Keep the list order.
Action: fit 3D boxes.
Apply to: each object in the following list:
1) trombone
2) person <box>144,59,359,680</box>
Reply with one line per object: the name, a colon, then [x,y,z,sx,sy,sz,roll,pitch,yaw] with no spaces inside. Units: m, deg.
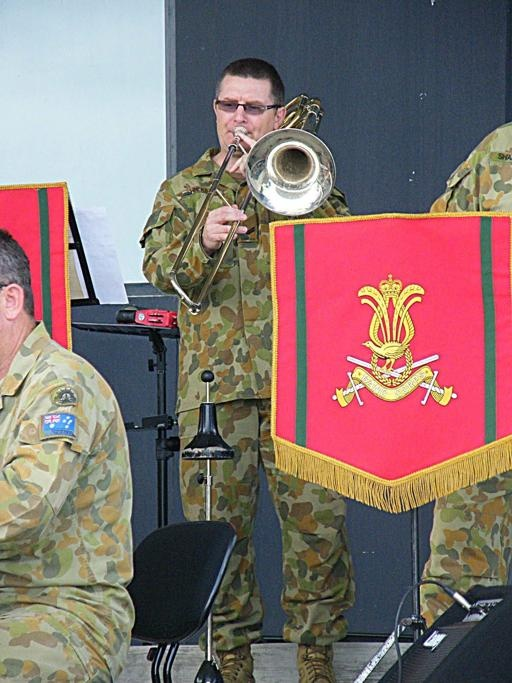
trombone: [0.054,-0.421,4.238,0.370,0.661,0.336,1,7,14]
person: [-0.036,0.117,4.201,0.513,1.870,0.804,1,5,-12]
